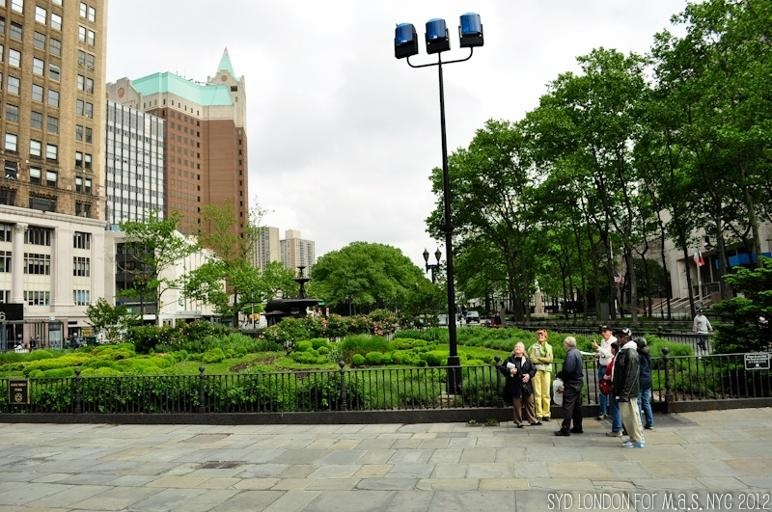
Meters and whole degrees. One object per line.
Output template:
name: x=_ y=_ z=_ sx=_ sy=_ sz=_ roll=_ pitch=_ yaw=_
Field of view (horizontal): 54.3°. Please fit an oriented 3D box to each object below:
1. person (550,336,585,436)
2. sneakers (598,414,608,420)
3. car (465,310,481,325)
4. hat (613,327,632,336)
person: x=8.141 y=5.735 z=33.457 sx=1.216 sy=4.359 sz=1.009 roll=-2 pitch=-10 yaw=-5
sneakers: x=9.981 y=7.415 z=34.755 sx=0.181 sy=0.231 sz=0.539 roll=-12 pitch=-24 yaw=24
car: x=11.178 y=7.933 z=97.395 sx=1.557 sy=1.215 sz=2.440 roll=0 pitch=3 yaw=10
hat: x=10.304 y=3.282 z=32.859 sx=0.569 sy=0.316 sz=0.343 roll=12 pitch=6 yaw=30
